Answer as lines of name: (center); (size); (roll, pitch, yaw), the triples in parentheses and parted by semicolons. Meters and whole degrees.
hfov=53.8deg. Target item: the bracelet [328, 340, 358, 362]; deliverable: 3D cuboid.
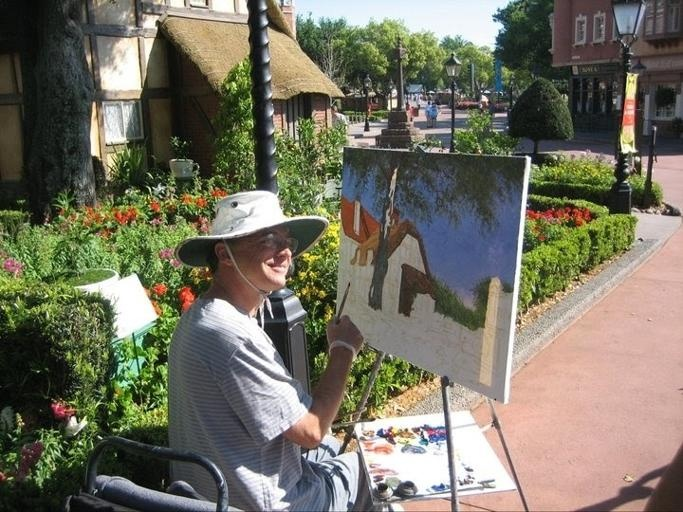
bracelet: (0.015, 0.619, 4.406); (0.120, 0.149, 0.033); (2, 13, 8)

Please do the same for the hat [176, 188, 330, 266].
hat: (-0.749, -0.250, 5.748); (0.707, 0.301, 0.768); (-3, -24, -46)
